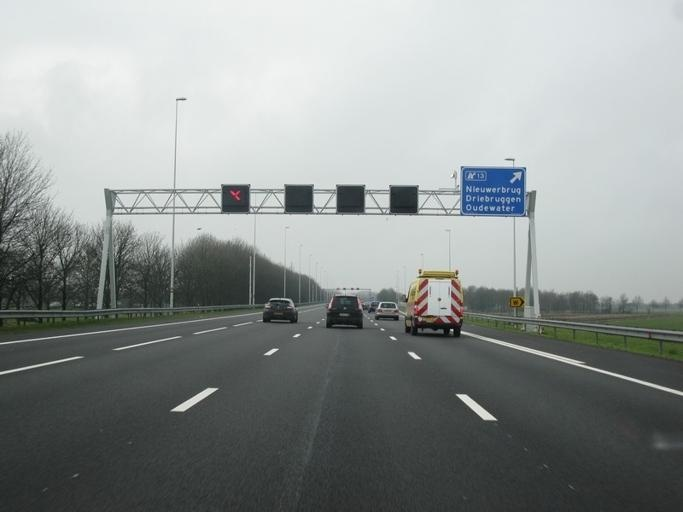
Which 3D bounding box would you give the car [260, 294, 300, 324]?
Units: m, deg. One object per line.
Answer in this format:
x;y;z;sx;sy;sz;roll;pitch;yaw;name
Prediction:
-3.321;3.008;36.613;1.710;1.319;2.276;0;-1;-1;car

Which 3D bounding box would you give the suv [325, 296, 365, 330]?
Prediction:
0.169;2.812;32.370;1.965;2.300;4.104;0;0;1;suv

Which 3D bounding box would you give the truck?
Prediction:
3.971;1.977;28.591;2.251;3.221;4.857;1;-5;1;truck
